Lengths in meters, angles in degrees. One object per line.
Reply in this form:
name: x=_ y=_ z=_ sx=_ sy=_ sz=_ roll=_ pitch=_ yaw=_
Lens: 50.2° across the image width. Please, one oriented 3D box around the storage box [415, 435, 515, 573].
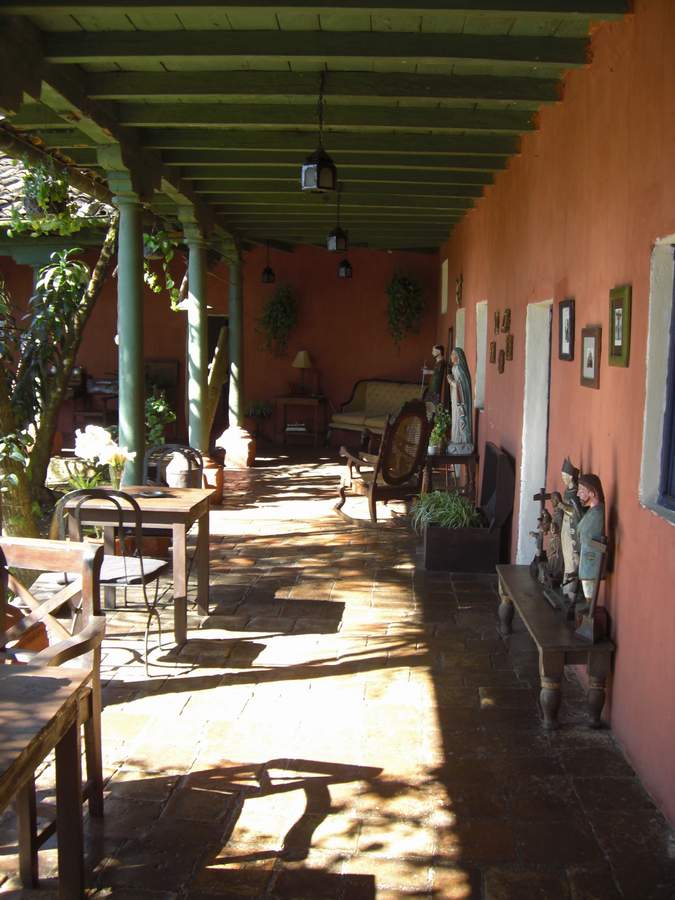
storage box: x=1.030 y=0.450 z=6.012 sx=0.772 sy=0.892 sz=1.177 roll=1 pitch=3 yaw=5
